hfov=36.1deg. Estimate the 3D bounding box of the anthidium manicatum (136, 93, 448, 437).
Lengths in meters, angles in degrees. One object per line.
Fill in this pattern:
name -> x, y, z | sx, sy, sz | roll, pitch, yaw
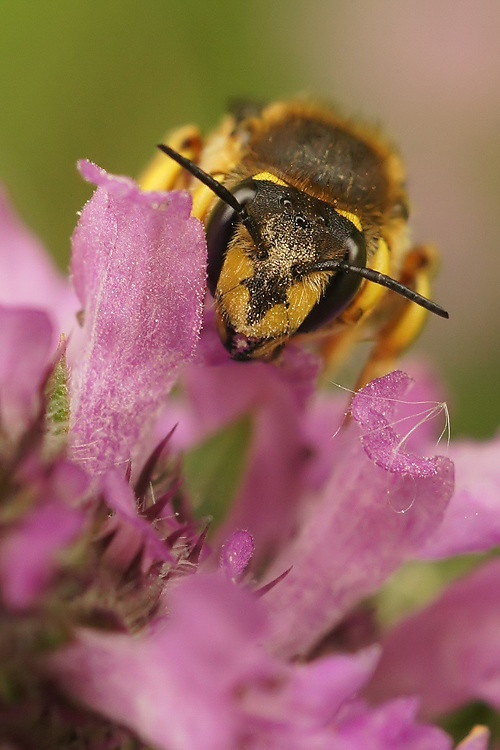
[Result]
anthidium manicatum -> 0.028, -0.104, 0.761 | 0.246, 0.169, 0.339 | 27, 36, -12
